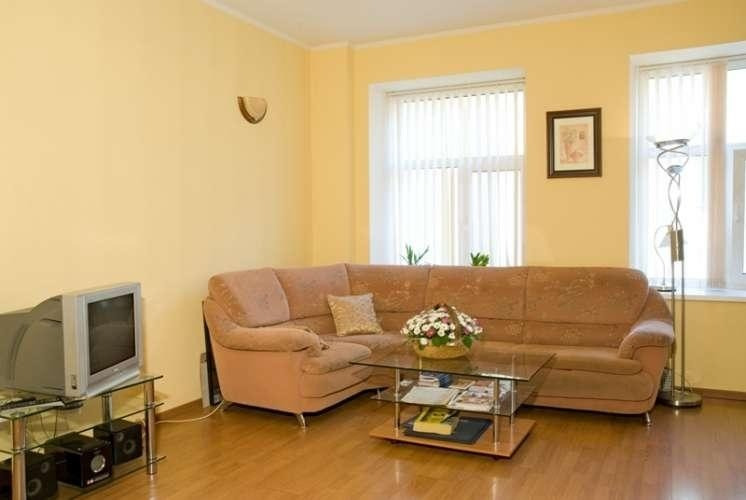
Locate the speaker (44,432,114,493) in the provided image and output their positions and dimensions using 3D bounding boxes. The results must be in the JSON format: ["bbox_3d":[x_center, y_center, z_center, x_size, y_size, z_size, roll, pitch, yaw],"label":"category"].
[{"bbox_3d":[-1.907,1.383,3.660,0.436,0.291,0.249,3,3,19],"label":"speaker"}]

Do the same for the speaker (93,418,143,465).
[{"bbox_3d":[-1.729,1.304,3.927,0.311,0.304,0.305,-1,-2,30],"label":"speaker"}]

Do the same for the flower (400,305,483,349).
[{"bbox_3d":[0.521,0.601,4.466,0.636,0.304,0.645,8,4,38],"label":"flower"}]

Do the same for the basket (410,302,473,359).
[{"bbox_3d":[0.552,0.608,4.302,0.432,0.282,0.434,-1,-2,33],"label":"basket"}]
